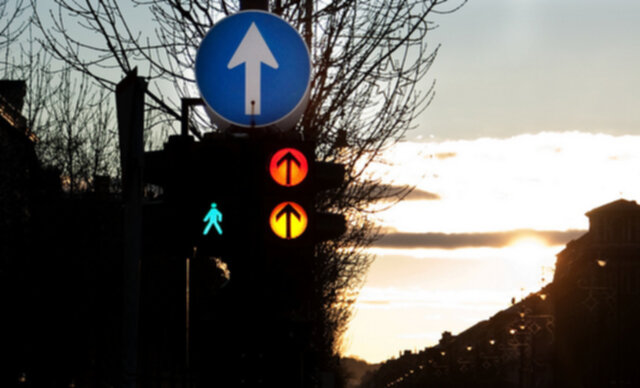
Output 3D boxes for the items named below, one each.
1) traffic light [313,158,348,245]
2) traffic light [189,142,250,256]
[{"bbox_3d":[0.195,0.179,20.092,0.699,1.799,0.943,2,-17,3],"label":"traffic light"},{"bbox_3d":[-2.161,0.095,19.829,1.108,2.363,0.659,5,-17,-5],"label":"traffic light"}]
